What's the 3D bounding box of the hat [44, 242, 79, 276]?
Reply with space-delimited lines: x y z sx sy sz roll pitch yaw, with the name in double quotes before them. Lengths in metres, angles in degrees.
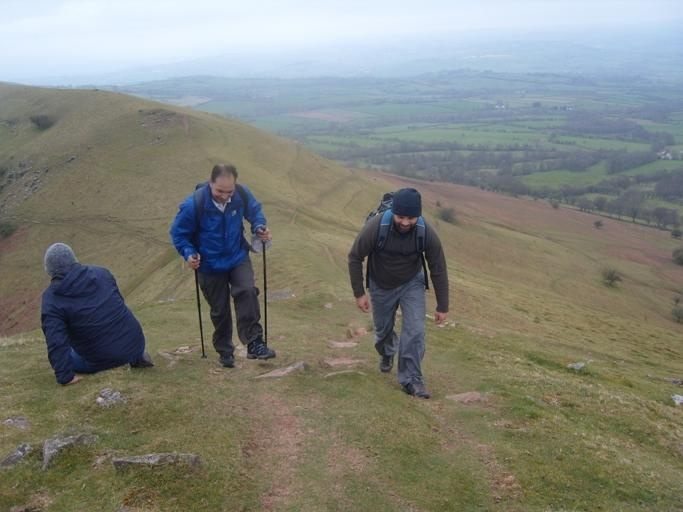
"hat" -5.545 0.048 10.695 0.620 0.572 0.707 -22 16 -40
